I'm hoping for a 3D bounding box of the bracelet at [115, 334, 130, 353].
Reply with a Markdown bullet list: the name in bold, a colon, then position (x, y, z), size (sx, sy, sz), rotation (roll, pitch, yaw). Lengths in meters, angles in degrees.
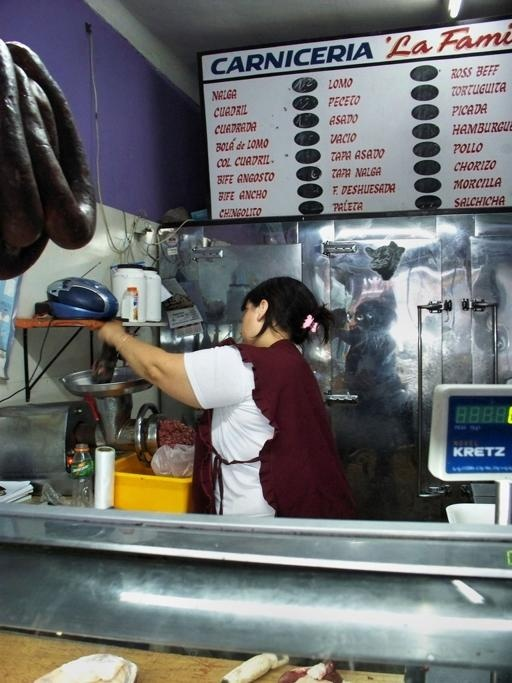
- **bracelet**: position (-0.326, 0.001, 1.385), size (0.011, 0.040, 0.034), rotation (9, -5, -21)
